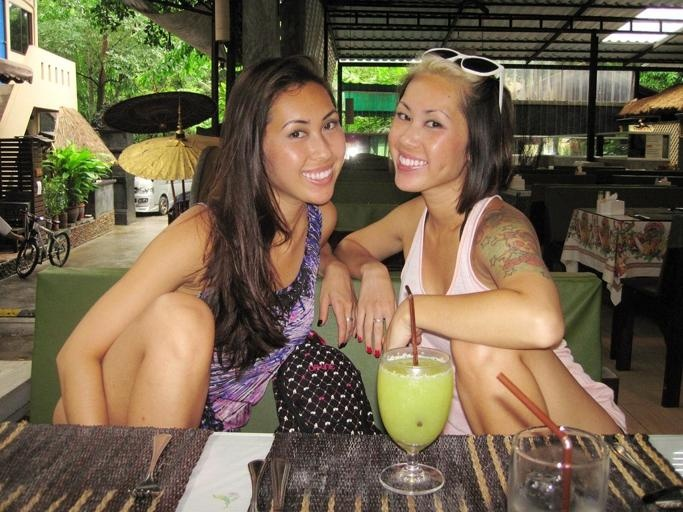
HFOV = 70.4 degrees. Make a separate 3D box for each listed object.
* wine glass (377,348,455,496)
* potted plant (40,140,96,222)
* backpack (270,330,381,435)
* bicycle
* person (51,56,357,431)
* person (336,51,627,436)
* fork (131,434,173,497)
[{"bbox_3d":[0.157,0.351,1.056,0.150,0.271,0.167,1,2,-4],"label":"wine glass"},{"bbox_3d":[-6.088,-1.569,10.699,1.361,1.564,1.453,-2,-4,31],"label":"potted plant"},{"bbox_3d":[-0.066,0.397,1.667,0.315,0.488,0.256,0,34,-11],"label":"backpack"},{"bbox_3d":[-4.903,-0.221,8.020,0.634,0.936,1.465,9,9,-3],"label":"bicycle"},{"bbox_3d":[-0.366,-0.010,1.519,0.960,1.275,0.480,-8,12,-39],"label":"person"},{"bbox_3d":[0.474,0.131,1.812,0.834,1.643,0.871,2,0,-26],"label":"person"},{"bbox_3d":[-0.347,0.386,0.898,0.042,0.018,0.153,10,17,-11],"label":"fork"}]
